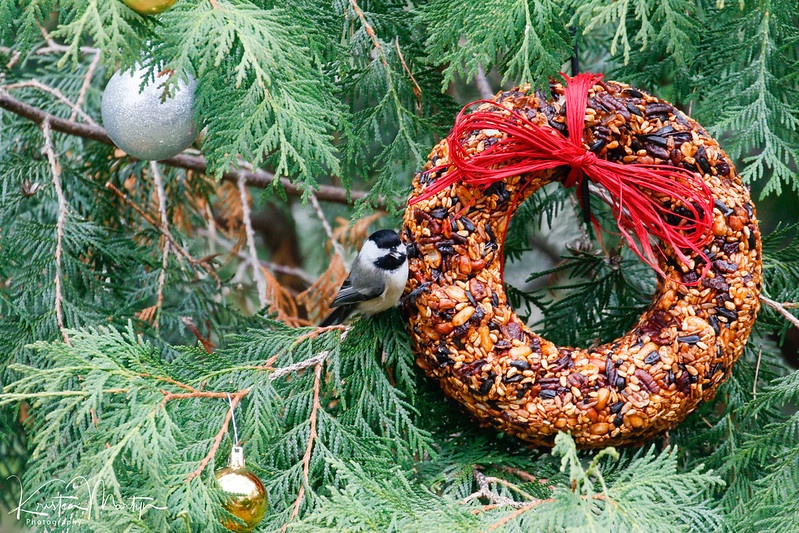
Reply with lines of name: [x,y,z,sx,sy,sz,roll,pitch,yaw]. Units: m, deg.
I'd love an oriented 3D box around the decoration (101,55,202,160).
decoration: [-1.019,-0.630,3.588,0.395,0.292,0.296,14,62,2]

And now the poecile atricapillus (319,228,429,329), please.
poecile atricapillus: [-0.120,0.033,3.616,0.408,0.365,0.258,-4,24,14]
